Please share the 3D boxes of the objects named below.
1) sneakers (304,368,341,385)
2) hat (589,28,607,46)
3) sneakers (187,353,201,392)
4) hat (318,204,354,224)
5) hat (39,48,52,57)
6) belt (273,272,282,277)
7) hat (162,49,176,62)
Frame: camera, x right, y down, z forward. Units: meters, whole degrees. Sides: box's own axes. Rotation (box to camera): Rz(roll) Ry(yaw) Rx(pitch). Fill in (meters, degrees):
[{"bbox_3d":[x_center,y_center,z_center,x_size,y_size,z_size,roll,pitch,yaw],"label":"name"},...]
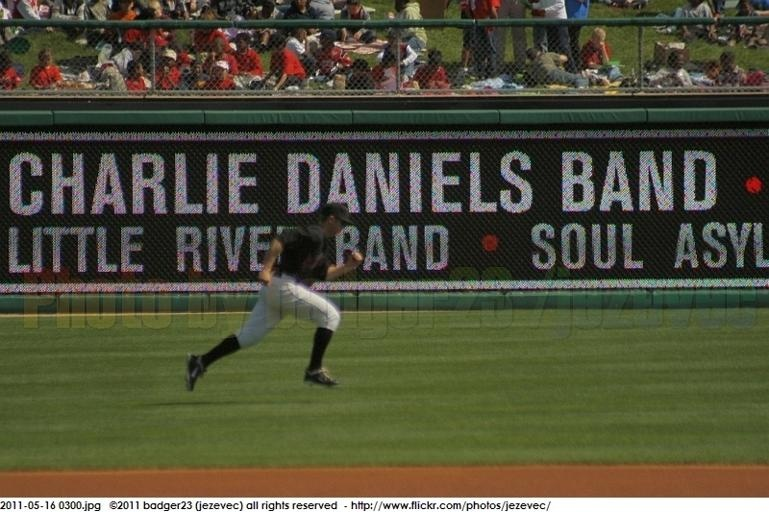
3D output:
[{"bbox_3d":[-0.847,1.688,24.427,0.472,0.232,0.207,8,22,-15],"label":"sneakers"},{"bbox_3d":[3.409,-3.494,28.380,0.202,0.236,0.268,-3,-32,21],"label":"hat"},{"bbox_3d":[-2.560,1.600,24.320,0.219,0.507,0.164,3,-4,-2],"label":"sneakers"},{"bbox_3d":[-0.635,-0.531,24.254,0.391,0.211,0.279,12,6,-20],"label":"hat"},{"bbox_3d":[-5.311,-3.219,28.167,0.197,0.144,0.043,0,-3,-12],"label":"hat"},{"bbox_3d":[-1.427,0.247,24.162,0.037,0.074,0.137,2,-3,-41],"label":"belt"},{"bbox_3d":[-3.376,-3.205,28.271,0.212,0.115,0.153,34,34,25],"label":"hat"}]
